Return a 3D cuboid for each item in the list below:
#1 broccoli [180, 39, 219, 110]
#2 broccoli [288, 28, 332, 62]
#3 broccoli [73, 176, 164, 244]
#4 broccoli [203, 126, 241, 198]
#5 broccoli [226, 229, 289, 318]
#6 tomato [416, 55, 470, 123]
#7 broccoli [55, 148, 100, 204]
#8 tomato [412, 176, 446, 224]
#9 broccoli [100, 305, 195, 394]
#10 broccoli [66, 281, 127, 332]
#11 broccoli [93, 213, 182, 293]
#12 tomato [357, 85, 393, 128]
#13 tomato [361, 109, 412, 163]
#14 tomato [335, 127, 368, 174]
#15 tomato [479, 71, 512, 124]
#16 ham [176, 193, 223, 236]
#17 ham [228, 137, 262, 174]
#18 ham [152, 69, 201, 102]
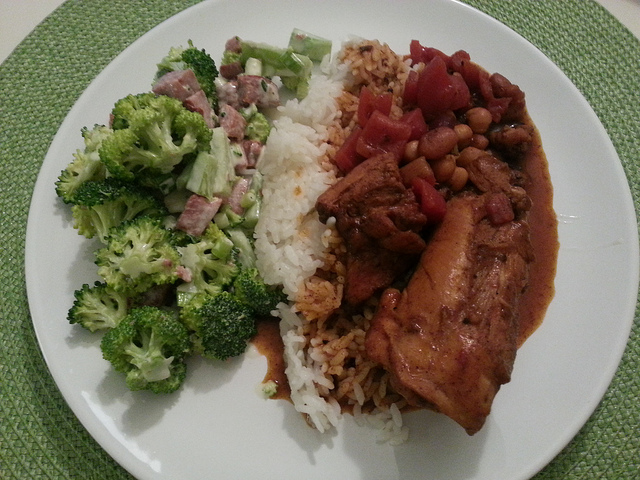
[{"bbox_3d":[-0.959,-1.398,5.590,0.330,0.514,0.202,-41,3,-31],"label":"broccoli"},{"bbox_3d":[-0.090,-1.689,5.856,0.381,0.236,0.167,18,-10,-6],"label":"broccoli"},{"bbox_3d":[-1.588,-0.305,5.286,0.483,0.491,0.753,15,28,32],"label":"broccoli"},{"bbox_3d":[-0.785,-0.616,5.452,0.232,0.510,0.183,23,35,37],"label":"broccoli"},{"bbox_3d":[-0.571,0.270,5.517,0.241,0.713,0.508,-23,-7,21],"label":"broccoli"},{"bbox_3d":[0.985,-1.245,5.568,0.396,0.486,0.274,-17,30,-33],"label":"tomato"},{"bbox_3d":[-1.922,-0.518,5.311,0.352,0.459,0.121,48,17,31],"label":"broccoli"},{"bbox_3d":[0.854,-0.308,5.301,0.200,0.400,0.143,-38,-4,-4],"label":"tomato"},{"bbox_3d":[-1.364,0.844,5.384,0.581,0.707,0.584,11,16,-10],"label":"broccoli"},{"bbox_3d":[-1.743,0.535,5.237,0.390,0.396,0.123,-30,-18,-8],"label":"broccoli"},{"bbox_3d":[-1.410,0.128,5.240,0.620,0.552,0.291,-13,-5,-2],"label":"broccoli"},{"bbox_3d":[0.447,-1.106,5.558,0.200,0.338,0.268,-18,32,-24],"label":"tomato"},{"bbox_3d":[0.530,-0.843,5.435,0.383,0.407,0.283,-14,25,-24],"label":"tomato"},{"bbox_3d":[0.243,-0.705,5.527,0.314,0.326,0.103,-40,-8,7],"label":"tomato"},{"bbox_3d":[1.413,-1.193,5.610,0.362,0.248,0.098,38,-4,3],"label":"tomato"},{"bbox_3d":[-0.979,-0.189,5.352,0.278,0.414,0.105,31,-2,-8],"label":"ham"},{"bbox_3d":[-0.582,-0.703,5.637,0.256,0.279,0.080,5,6,-14],"label":"ham"},{"bbox_3d":[-1.155,-1.247,5.401,0.284,0.225,0.280,-25,40,-27],"label":"ham"}]
